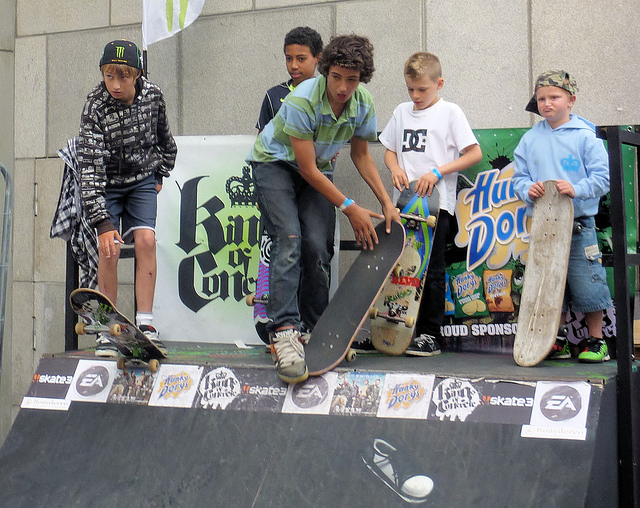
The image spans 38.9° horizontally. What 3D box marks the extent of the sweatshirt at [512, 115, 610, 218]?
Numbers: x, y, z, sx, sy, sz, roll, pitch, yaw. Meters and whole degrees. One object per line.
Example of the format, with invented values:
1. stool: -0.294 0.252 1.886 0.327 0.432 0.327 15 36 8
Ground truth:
1. sweatshirt: 1.519 -0.547 5.815 0.570 0.750 0.460 0 -12 24

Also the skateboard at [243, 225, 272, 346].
1. skateboard: -0.411 0.123 6.446 0.095 0.843 0.189 -5 -11 31

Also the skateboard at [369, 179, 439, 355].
1. skateboard: 0.556 0.139 5.981 0.290 1.446 0.191 13 -5 28

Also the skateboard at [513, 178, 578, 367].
1. skateboard: 1.351 0.121 5.474 0.297 1.287 0.166 6 -9 46

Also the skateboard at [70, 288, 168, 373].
1. skateboard: -1.200 0.436 5.603 0.275 0.166 0.878 2 -34 27

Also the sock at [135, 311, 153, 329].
1. sock: -1.166 0.426 5.942 0.081 0.094 0.090 0 -1 0
